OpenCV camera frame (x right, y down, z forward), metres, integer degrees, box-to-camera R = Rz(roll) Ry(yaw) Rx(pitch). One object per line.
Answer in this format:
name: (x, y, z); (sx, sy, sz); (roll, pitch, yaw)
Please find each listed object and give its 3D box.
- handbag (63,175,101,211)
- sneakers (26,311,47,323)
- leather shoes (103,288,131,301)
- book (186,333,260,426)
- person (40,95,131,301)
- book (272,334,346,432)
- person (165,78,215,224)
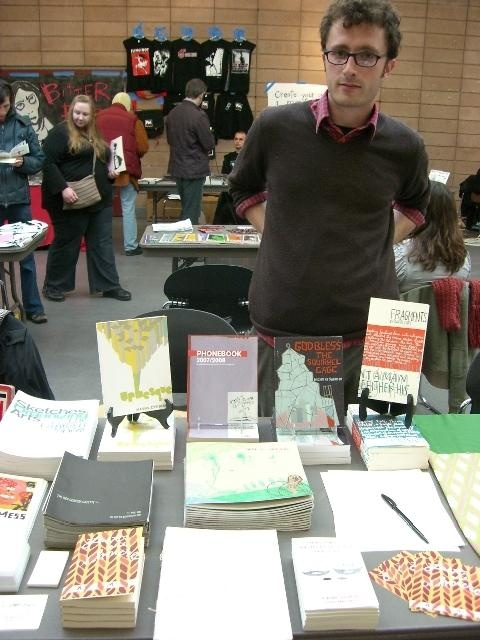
handbag: (-1.489, -1.203, 4.646); (0.269, 0.250, 0.113); (-15, 29, -23)
sneakers: (-1.808, -0.021, 4.418); (0.084, 0.081, 0.191); (-2, 5, -34)
leather shoes: (-1.275, -0.276, 5.117); (0.296, 0.115, 0.129); (4, 17, 16)
book: (-0.040, 0.147, 1.256); (0.210, 0.196, 0.201); (-4, -5, 1)
person: (-1.567, -1.102, 4.774); (0.818, 1.905, 0.436); (-6, 24, -14)
book: (0.162, 0.154, 1.181); (0.233, 0.303, 0.033); (-1, 8, 0)
person: (-0.661, -2.064, 6.161); (0.578, 1.643, 0.625); (7, 24, 17)
